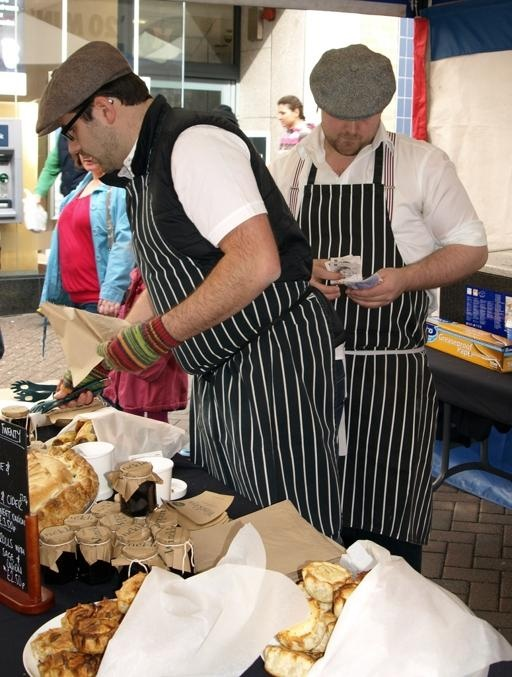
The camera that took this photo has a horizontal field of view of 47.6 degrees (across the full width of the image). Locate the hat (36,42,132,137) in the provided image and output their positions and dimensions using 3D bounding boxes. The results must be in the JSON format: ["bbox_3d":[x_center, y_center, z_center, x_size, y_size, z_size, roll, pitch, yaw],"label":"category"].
[{"bbox_3d":[-0.429,-0.638,1.451,0.224,0.256,0.163,1,10,-21],"label":"hat"}]

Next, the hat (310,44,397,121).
[{"bbox_3d":[0.282,-0.847,1.921,0.292,0.293,0.073,19,58,40],"label":"hat"}]

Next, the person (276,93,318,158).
[{"bbox_3d":[0.561,-3.122,8.435,0.516,0.825,0.940,-15,38,-14],"label":"person"}]

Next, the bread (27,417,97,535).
[{"bbox_3d":[-0.404,0.299,1.246,0.146,0.143,0.048,-25,-44,28],"label":"bread"}]

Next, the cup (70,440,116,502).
[{"bbox_3d":[-0.377,0.306,1.404,0.122,0.117,0.114,1,13,0],"label":"cup"}]

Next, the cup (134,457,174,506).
[{"bbox_3d":[-0.251,0.321,1.380,0.115,0.107,0.107,2,-19,1],"label":"cup"}]
